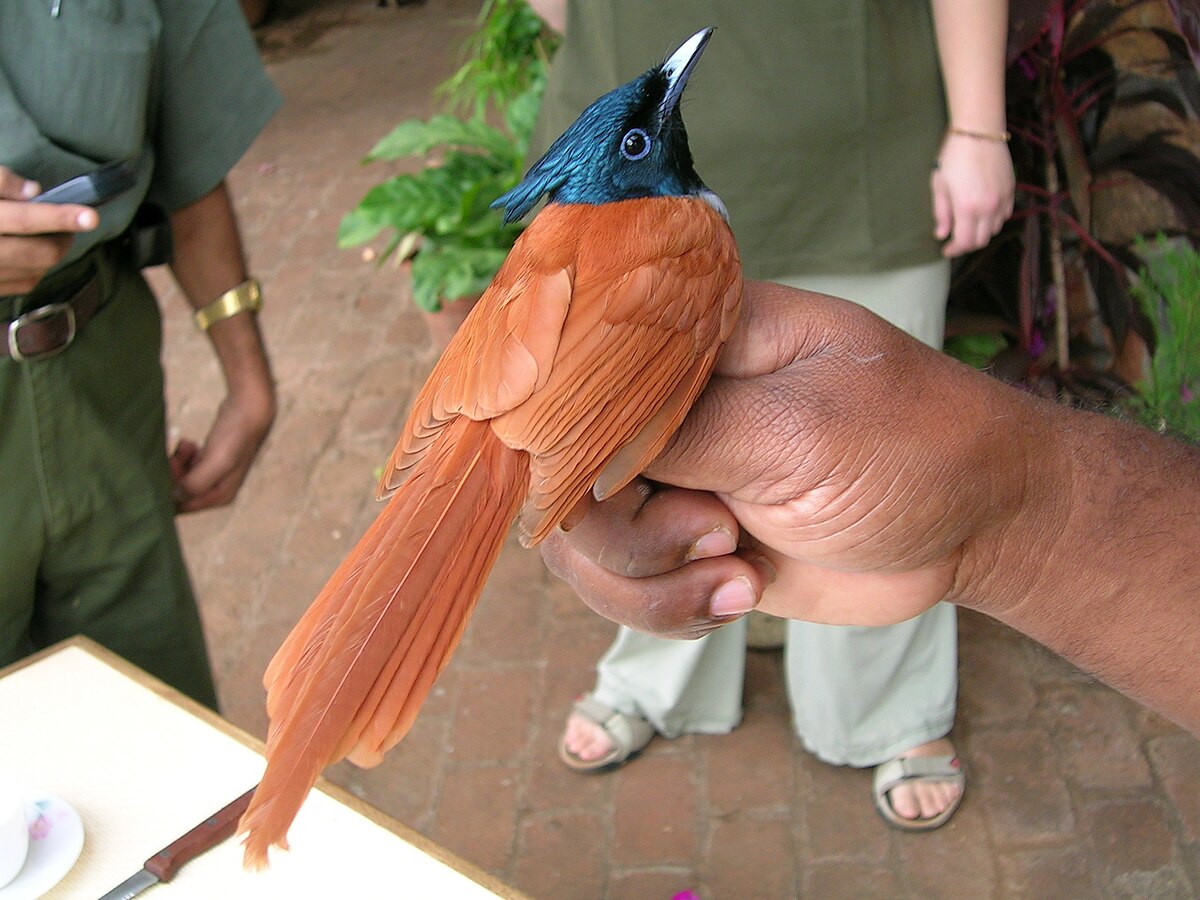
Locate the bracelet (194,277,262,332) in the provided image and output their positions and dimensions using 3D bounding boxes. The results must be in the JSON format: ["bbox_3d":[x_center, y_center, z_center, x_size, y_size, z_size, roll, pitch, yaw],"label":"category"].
[{"bbox_3d":[-0.838,-0.327,2.571,0.137,0.155,0.101,-9,75,-1],"label":"bracelet"}]

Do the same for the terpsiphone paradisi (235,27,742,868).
[{"bbox_3d":[-0.300,0.023,1.662,0.713,1.068,0.716,22,34,38],"label":"terpsiphone paradisi"}]

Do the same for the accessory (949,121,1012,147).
[{"bbox_3d":[0.745,-0.616,2.248,0.111,0.054,0.038,1,46,10],"label":"accessory"}]

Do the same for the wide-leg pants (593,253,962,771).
[{"bbox_3d":[0.505,0.248,2.749,0.654,1.229,0.860,-18,43,-27],"label":"wide-leg pants"}]

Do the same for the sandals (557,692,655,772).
[{"bbox_3d":[0.017,0.772,3.067,0.205,0.191,0.199,20,38,35],"label":"sandals"}]

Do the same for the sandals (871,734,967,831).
[{"bbox_3d":[0.799,0.841,2.839,0.174,0.196,0.203,-16,33,-27],"label":"sandals"}]
